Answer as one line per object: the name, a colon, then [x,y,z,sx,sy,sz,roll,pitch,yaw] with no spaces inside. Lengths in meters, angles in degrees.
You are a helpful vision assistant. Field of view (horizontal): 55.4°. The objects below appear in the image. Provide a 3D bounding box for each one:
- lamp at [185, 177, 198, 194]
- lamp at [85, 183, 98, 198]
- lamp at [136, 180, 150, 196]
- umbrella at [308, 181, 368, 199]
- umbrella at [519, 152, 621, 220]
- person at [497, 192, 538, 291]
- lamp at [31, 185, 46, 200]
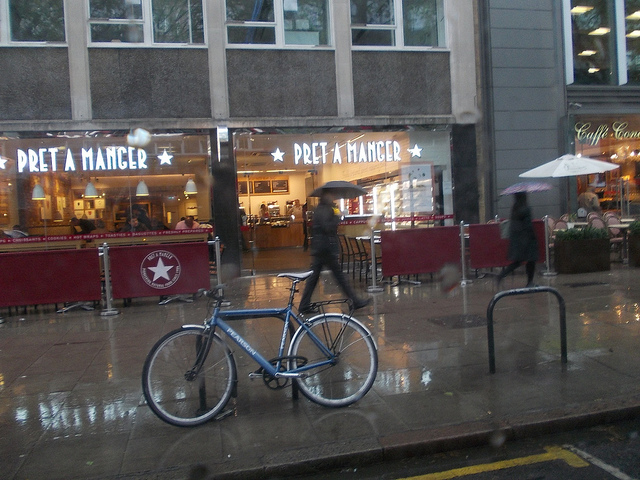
lamp: [-3.333,-1.425,15.759,0.381,0.409,0.370,3,-1,-7]
lamp: [-5.777,-1.259,15.363,0.337,0.338,0.342,-7,-3,35]
lamp: [-4.554,-1.346,15.644,0.345,0.356,0.339,-1,-3,-15]
umbrella: [0.336,-0.899,10.857,1.061,0.322,0.403,-10,10,-39]
umbrella: [5.888,-1.178,14.244,1.487,1.025,1.531,-7,10,9]
person: [3.562,0.012,10.959,0.663,1.730,0.892,-1,9,19]
lamp: [-6.996,-1.194,15.136,0.334,0.333,0.324,3,-4,-39]
